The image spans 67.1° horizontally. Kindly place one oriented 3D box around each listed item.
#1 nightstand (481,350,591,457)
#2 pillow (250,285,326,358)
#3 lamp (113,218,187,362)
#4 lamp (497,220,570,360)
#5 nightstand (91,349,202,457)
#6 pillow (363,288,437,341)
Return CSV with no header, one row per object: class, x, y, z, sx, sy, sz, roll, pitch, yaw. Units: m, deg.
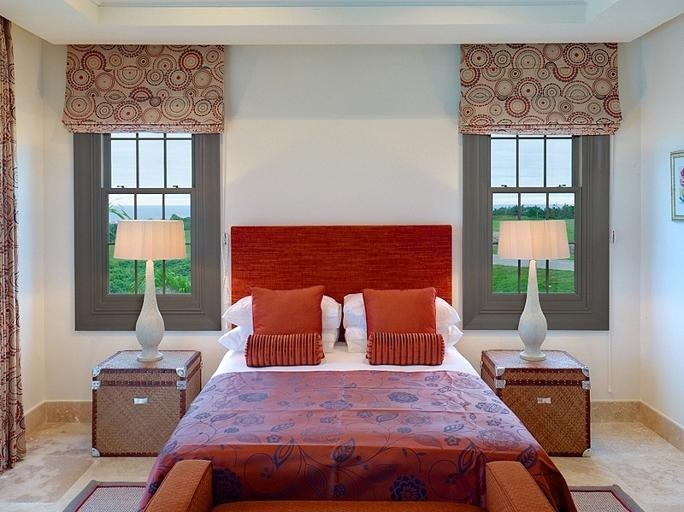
nightstand,1.496,1.109,4.139,0.727,0.646,0.723,0,1,2
pillow,-0.433,0.538,3.950,0.585,0.643,0.244,1,-15,-7
lamp,-1.467,0.258,3.982,0.492,1.078,0.244,-3,4,-25
lamp,1.458,0.257,3.959,0.502,1.071,0.256,0,4,19
nightstand,-1.516,1.046,4.009,0.770,0.677,0.758,0,0,-19
pillow,0.503,0.489,3.981,0.492,0.434,0.180,-3,-1,36
